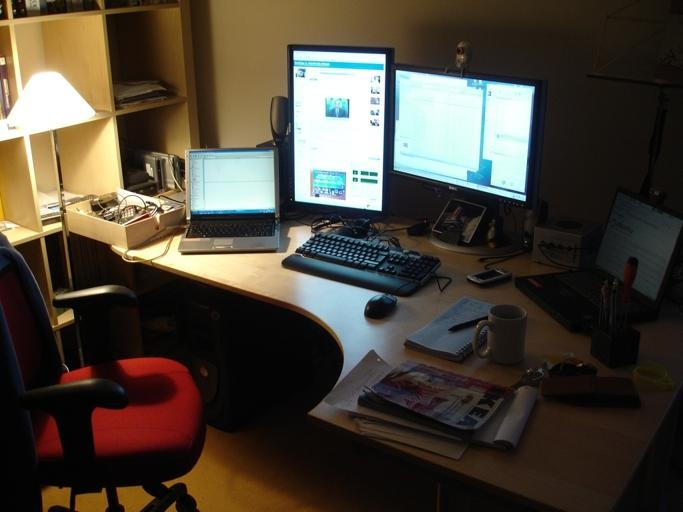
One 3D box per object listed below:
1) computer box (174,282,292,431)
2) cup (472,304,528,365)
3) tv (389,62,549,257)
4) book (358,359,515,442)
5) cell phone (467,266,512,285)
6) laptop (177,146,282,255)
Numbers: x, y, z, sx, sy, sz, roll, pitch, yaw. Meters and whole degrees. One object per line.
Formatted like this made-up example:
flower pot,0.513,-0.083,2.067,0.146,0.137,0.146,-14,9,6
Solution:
computer box,-0.524,0.389,2.601,0.331,0.555,0.321,-14,25,-43
cup,0.452,0.202,1.671,0.193,0.156,0.115,-19,27,-31
tv,0.501,-0.386,2.189,0.304,0.603,0.582,-18,28,-39
book,0.244,0.364,1.473,0.190,0.032,0.214,11,26,30
cell phone,0.529,0.067,2.038,0.124,0.031,0.068,-15,25,-27
laptop,-0.458,-0.188,2.435,0.459,0.362,0.419,-1,34,-4
